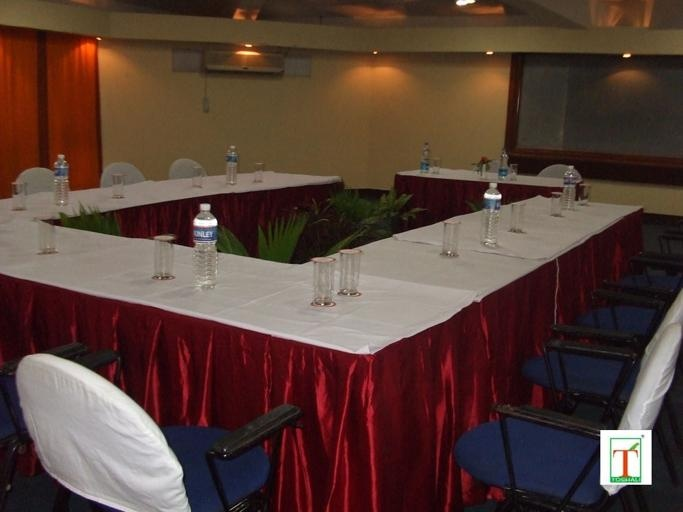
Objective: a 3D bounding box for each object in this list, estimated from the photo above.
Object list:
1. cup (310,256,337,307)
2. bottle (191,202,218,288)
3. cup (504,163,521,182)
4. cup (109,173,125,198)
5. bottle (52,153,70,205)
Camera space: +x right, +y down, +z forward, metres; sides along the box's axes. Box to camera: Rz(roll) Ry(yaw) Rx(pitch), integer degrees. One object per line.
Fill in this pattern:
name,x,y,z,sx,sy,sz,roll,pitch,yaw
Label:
cup,-0.070,0.097,2.172,0.098,0.197,0.103,1,11,0
bottle,-0.602,-0.063,2.382,0.104,0.364,0.260,-2,12,-15
cup,2.109,-1.035,6.633,0.136,0.189,0.291,5,13,17
cup,-1.950,-0.616,4.703,0.105,0.197,0.270,-4,13,-24
bottle,-2.242,-0.623,4.305,0.115,0.368,0.669,-5,14,-27
